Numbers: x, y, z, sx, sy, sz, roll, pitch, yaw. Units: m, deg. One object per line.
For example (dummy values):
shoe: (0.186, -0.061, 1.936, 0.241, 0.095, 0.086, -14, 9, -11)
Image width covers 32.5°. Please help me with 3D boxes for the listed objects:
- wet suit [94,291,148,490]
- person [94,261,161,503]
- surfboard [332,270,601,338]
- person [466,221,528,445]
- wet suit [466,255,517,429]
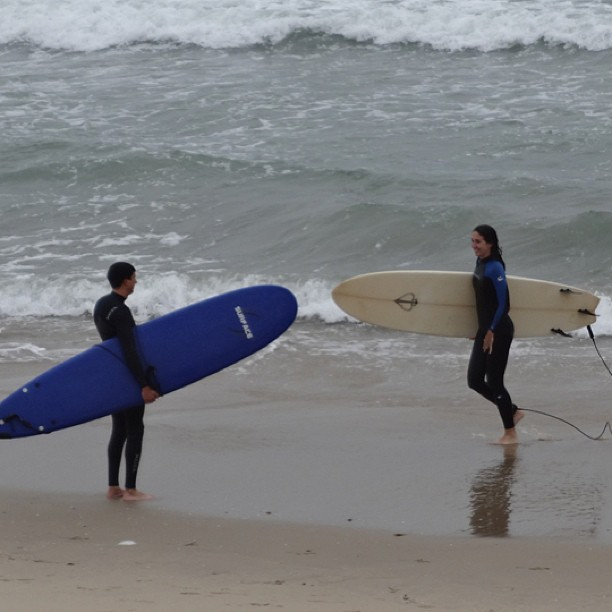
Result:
wet suit: (-1.322, 0.612, 7.472, 0.374, 1.474, 0.398, -8, 15, -9)
person: (-1.393, 0.482, 7.856, 0.494, 1.718, 1.355, -8, 13, -10)
surfboard: (1.299, -0.007, 8.966, 2.628, 0.486, 0.213, 5, 20, -25)
person: (1.532, 0.172, 8.612, 0.445, 1.762, 1.153, -2, 13, 11)
wet suit: (1.426, 0.289, 8.245, 0.350, 1.409, 0.293, 3, 17, 29)
